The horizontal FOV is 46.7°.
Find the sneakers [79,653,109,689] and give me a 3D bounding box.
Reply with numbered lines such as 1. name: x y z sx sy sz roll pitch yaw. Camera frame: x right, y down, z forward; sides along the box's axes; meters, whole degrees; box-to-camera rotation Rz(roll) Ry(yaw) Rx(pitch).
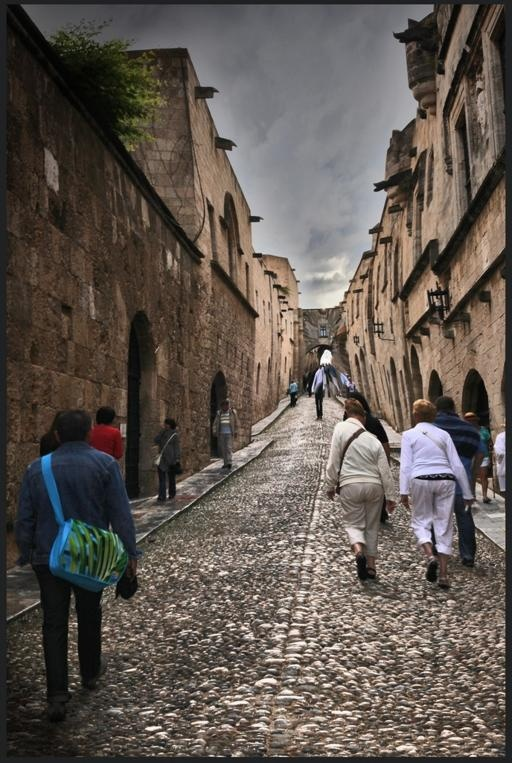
1. sneakers: -0.723 1.326 2.729 0.054 0.126 0.169 4 10 3

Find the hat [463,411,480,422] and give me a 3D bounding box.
1. hat: 2.578 0.428 7.142 0.182 0.089 0.223 -6 -3 4

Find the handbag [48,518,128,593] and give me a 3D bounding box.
1. handbag: -0.668 0.734 2.546 0.262 0.269 0.142 15 2 -7

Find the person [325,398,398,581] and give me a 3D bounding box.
1. person: 0.773 0.888 4.512 0.487 1.181 0.431 2 -3 -41

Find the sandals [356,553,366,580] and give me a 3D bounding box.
1. sandals: 0.744 1.342 4.245 0.064 0.208 0.079 -2 6 1

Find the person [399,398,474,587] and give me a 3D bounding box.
1. person: 1.276 0.884 4.355 0.439 1.146 0.673 -2 -3 30

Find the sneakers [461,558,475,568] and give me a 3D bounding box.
1. sneakers: 1.695 1.443 4.726 0.041 0.054 0.118 1 0 10

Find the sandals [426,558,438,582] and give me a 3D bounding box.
1. sandals: 1.203 1.307 4.105 0.077 0.210 0.082 0 29 7

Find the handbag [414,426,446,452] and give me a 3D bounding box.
1. handbag: 1.299 0.429 4.433 0.141 0.083 0.180 22 2 -44

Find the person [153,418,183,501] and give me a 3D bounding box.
1. person: -1.270 1.125 8.587 0.354 1.170 0.860 0 -3 -9

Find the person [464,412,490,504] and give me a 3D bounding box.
1. person: 2.639 0.905 7.205 0.343 1.143 0.350 -5 -29 12
